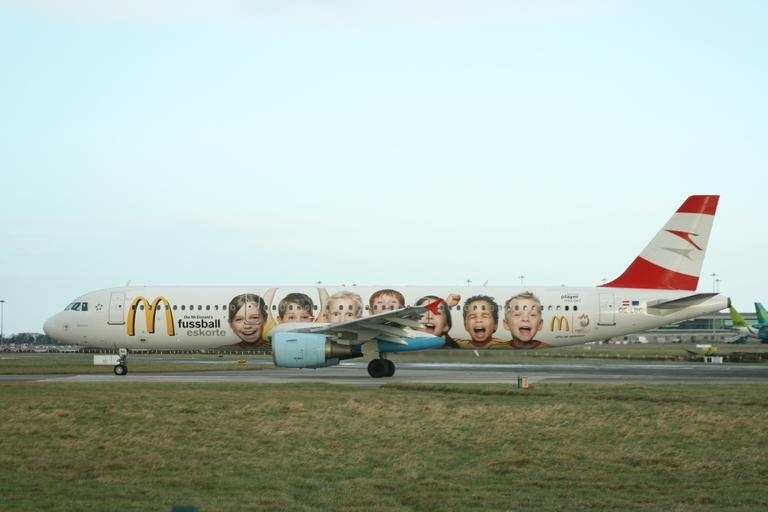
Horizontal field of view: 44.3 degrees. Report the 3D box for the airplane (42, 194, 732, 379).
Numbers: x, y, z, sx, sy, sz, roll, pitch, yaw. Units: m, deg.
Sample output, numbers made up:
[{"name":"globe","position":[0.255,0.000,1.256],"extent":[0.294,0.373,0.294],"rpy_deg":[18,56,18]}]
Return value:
[{"name":"airplane","position":[-0.096,1.355,41.383],"extent":[31.752,7.679,5.977],"rpy_deg":[0,14,-3]}]
